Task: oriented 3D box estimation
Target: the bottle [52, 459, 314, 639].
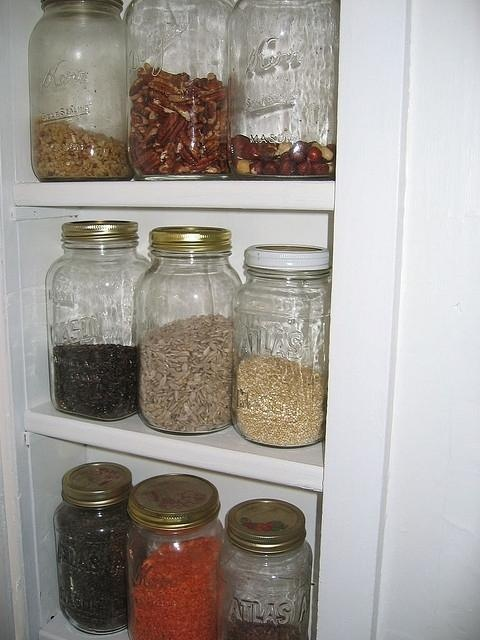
[{"bbox_3d":[-0.076,0.317,0.778,0.293,0.190,0.102,6,13,17],"label":"bottle"}]
